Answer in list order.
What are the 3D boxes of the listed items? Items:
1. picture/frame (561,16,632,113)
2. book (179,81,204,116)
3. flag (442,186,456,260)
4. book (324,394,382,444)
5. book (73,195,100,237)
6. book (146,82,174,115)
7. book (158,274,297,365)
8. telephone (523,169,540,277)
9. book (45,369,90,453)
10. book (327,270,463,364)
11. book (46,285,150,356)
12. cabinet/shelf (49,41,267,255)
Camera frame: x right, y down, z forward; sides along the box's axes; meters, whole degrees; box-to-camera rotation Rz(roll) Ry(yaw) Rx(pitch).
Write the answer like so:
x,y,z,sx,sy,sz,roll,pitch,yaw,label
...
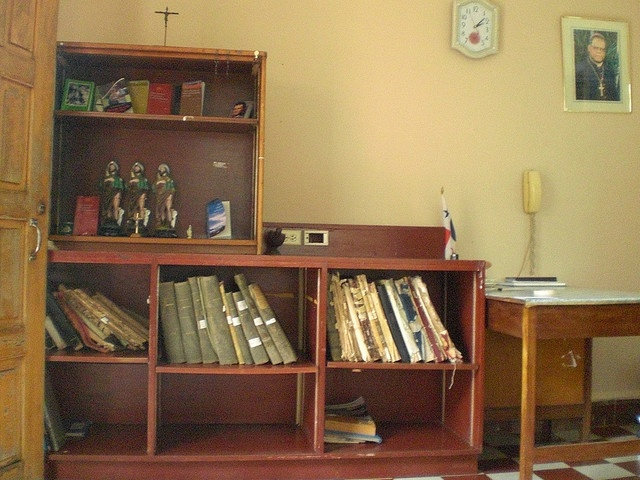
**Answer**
x,y,z,sx,sy,sz,roll,pitch,yaw,label
1.677,-1.072,3.861,0.629,0.756,0.050,-1,2,-13,picture/frame
-0.690,-0.758,3.358,0.127,0.204,0.137,0,4,-11,book
0.739,-0.097,3.611,0.102,0.403,0.263,2,4,12,flag
0.173,0.973,3.400,0.305,0.156,0.311,1,4,0,book
-1.261,-0.132,3.364,0.135,0.203,0.126,0,4,-13,book
-0.863,-0.756,3.364,0.130,0.175,0.091,0,4,-10,book
-0.510,0.401,3.236,0.620,0.179,0.444,1,7,-11,book
1.286,-0.099,3.780,0.131,0.625,0.074,0,4,-12,telephone
-1.302,0.853,3.197,0.174,0.367,0.274,1,4,-2,book
0.383,0.413,3.276,0.695,0.440,0.209,1,4,1,book
-1.150,0.416,3.253,0.491,0.312,0.172,0,4,-16,book
-0.918,-0.488,3.370,1.215,1.063,0.391,2,-1,-5,cabinet/shelf
